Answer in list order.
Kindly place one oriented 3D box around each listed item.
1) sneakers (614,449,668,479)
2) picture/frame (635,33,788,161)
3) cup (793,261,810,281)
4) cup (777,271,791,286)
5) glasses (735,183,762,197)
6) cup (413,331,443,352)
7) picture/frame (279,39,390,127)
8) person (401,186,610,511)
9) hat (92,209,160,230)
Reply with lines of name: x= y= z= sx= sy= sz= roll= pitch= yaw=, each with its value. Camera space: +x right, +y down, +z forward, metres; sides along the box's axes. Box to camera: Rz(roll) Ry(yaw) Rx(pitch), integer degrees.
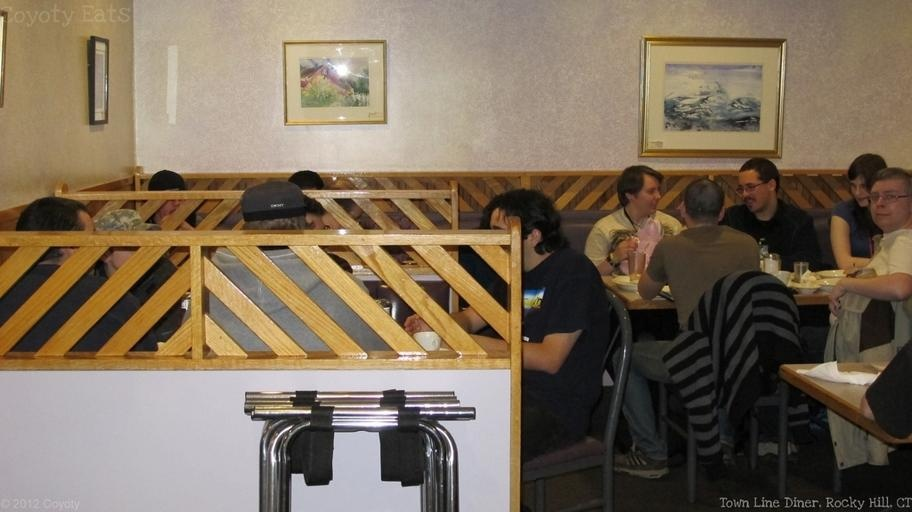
sneakers: x=1.106 y=1.259 z=5.661 sx=0.376 sy=0.164 sz=0.138 roll=3 pitch=0 yaw=19
picture/frame: x=2.084 y=-1.362 z=7.601 sx=1.350 sy=1.004 sz=0.133 roll=0 pitch=9 yaw=-1
cup: x=2.167 y=0.084 z=5.870 sx=0.101 sy=0.113 sz=0.120 roll=0 pitch=-3 yaw=7
cup: x=1.971 y=0.132 z=5.586 sx=0.089 sy=0.076 sz=0.083 roll=-1 pitch=8 yaw=0
glasses: x=2.008 y=-0.461 z=6.299 sx=0.129 sy=0.038 sz=0.117 roll=0 pitch=-6 yaw=-27
cup: x=-0.152 y=0.407 z=4.495 sx=0.109 sy=0.073 sz=0.084 roll=4 pitch=5 yaw=33
picture/frame: x=-1.031 y=-1.446 z=7.508 sx=0.778 sy=0.521 sz=0.027 roll=-1 pitch=2 yaw=-3
person: x=0.207 y=0.419 z=5.282 sx=1.372 sy=1.504 sz=1.211 roll=-11 pitch=-17 yaw=32
hat: x=-2.034 y=-0.217 z=5.645 sx=0.332 sy=0.117 sz=0.238 roll=2 pitch=3 yaw=12
